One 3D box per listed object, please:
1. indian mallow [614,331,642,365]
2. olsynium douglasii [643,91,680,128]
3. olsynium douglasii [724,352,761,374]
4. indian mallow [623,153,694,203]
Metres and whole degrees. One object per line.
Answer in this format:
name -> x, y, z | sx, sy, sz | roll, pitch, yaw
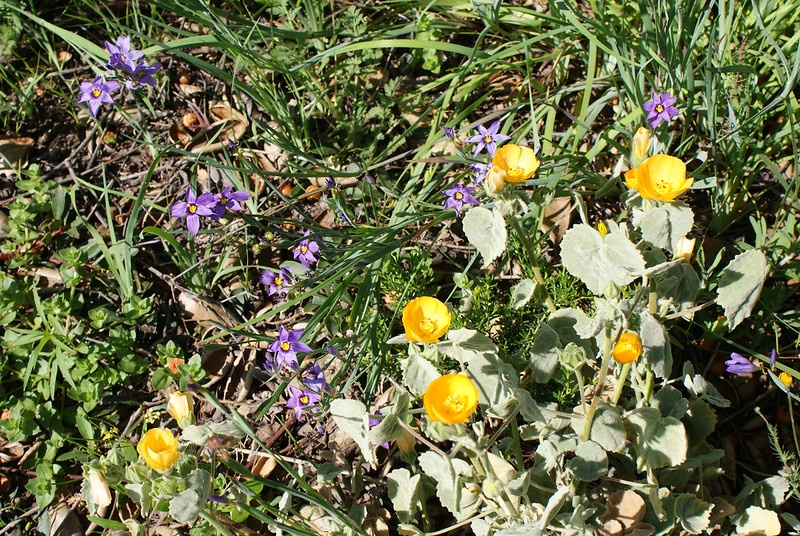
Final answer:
indian mallow -> 0.874, 0.308, 2.463 | 0.087, 0.075, 0.117 | 33, 72, 23
olsynium douglasii -> 1.209, -0.725, 3.010 | 0.160, 0.062, 0.187 | 14, 79, 9
olsynium douglasii -> 1.580, 0.449, 2.997 | 0.186, 0.084, 0.119 | 0, 95, 2
indian mallow -> 1.028, -0.329, 2.483 | 0.209, 0.102, 0.205 | -4, 51, -18
